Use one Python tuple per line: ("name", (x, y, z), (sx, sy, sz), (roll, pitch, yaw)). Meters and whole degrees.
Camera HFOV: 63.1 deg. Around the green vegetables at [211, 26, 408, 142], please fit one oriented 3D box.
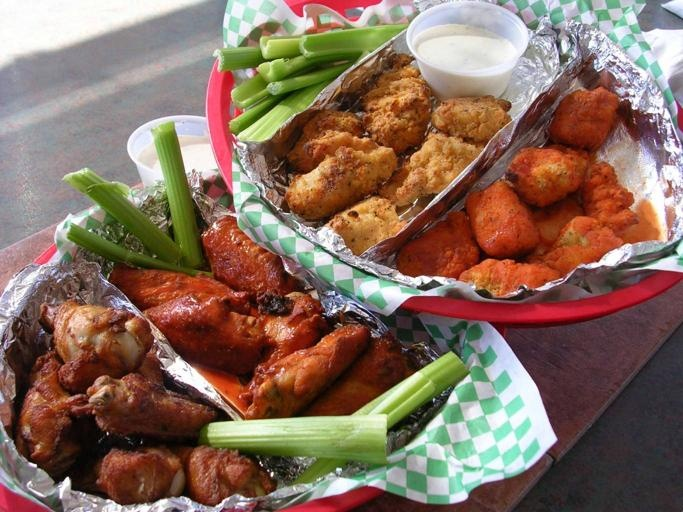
("green vegetables", (-0.265, -1.070, 3.098), (1.028, 0.305, 0.549), (-39, 58, -20))
